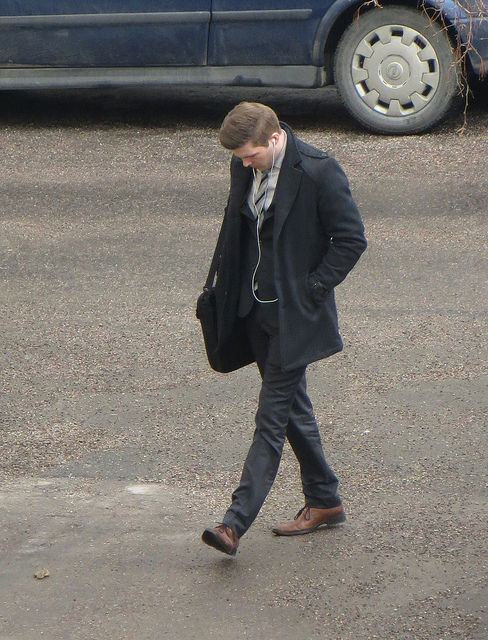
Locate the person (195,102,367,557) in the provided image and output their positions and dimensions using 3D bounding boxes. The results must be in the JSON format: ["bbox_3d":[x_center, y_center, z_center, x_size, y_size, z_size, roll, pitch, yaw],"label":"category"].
[{"bbox_3d":[0.052,0.016,3.898,0.502,1.618,0.506,-3,17,-40],"label":"person"}]

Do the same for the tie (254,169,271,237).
[{"bbox_3d":[0.062,-0.449,3.764,0.044,0.163,0.101,4,25,-12],"label":"tie"}]

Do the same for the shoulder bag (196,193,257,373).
[{"bbox_3d":[-0.057,-0.102,4.065,0.135,0.652,0.273,17,16,33],"label":"shoulder bag"}]
